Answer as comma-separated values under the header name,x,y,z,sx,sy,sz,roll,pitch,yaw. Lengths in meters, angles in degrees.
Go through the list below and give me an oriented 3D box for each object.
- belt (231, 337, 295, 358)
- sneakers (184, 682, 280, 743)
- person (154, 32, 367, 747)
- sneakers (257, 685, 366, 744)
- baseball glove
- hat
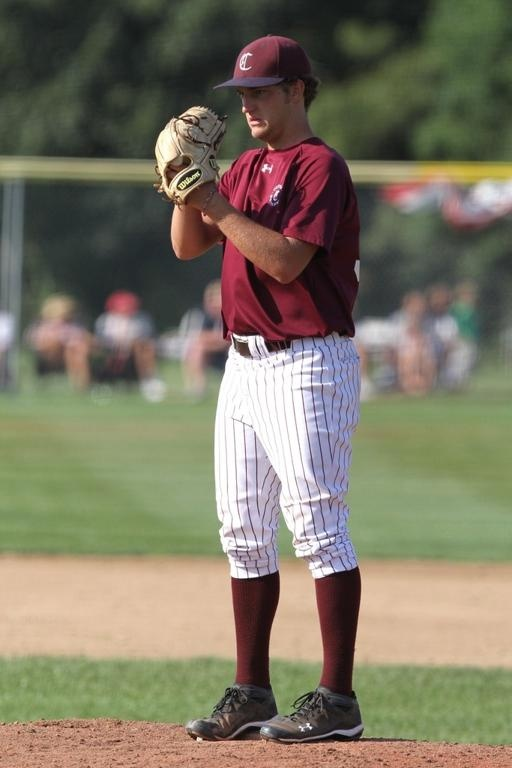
name,x,y,z,sx,sy,sz,roll,pitch,yaw
belt,0.008,-0.093,2.998,0.054,0.052,0.200,-1,5,-36
sneakers,-0.065,0.883,3.066,0.308,0.126,0.098,2,-6,-42
person,0.029,0.006,3.058,0.615,1.893,0.443,3,5,16
sneakers,0.150,0.876,2.982,0.287,0.122,0.093,3,-7,-27
baseball glove,-0.169,-0.606,3.004,0.191,0.249,0.104,-17,-33,22
hat,0.011,-0.857,3.009,0.290,0.134,0.191,-22,25,-34
